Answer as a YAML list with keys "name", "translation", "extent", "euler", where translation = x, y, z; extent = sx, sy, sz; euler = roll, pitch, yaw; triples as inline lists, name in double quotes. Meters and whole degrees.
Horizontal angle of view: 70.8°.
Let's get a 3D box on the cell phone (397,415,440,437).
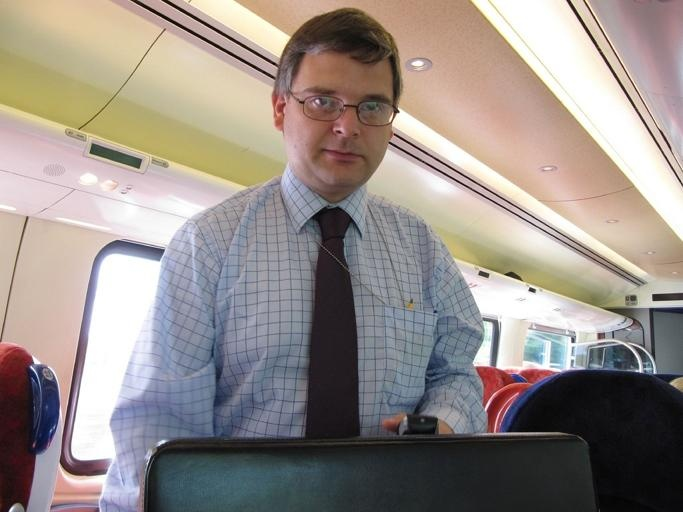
- name: "cell phone"
  translation: [0.153, 0.329, 0.948]
  extent: [0.072, 0.031, 0.051]
  euler: [-4, -9, 10]
